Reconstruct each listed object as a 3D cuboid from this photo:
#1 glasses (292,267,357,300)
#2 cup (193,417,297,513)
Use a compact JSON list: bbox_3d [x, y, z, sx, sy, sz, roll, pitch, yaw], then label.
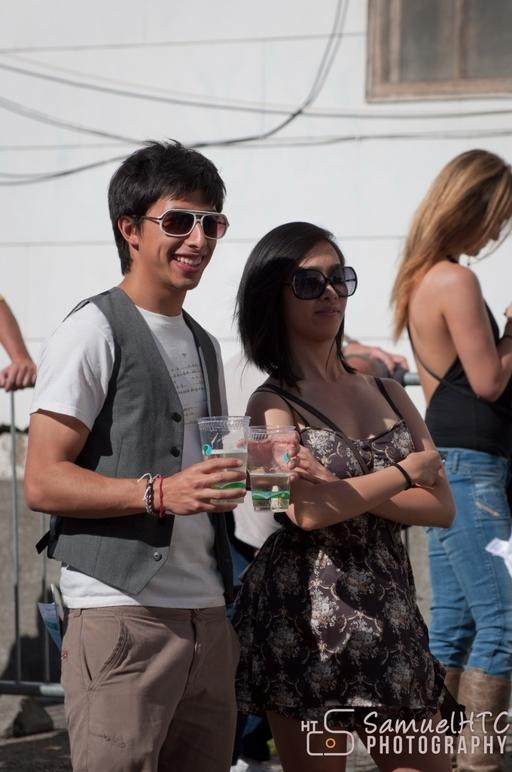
[{"bbox_3d":[0.193,-0.289,2.459,0.142,0.049,0.128,-2,-7,-17],"label":"glasses"},{"bbox_3d":[-0.030,0.178,1.992,0.149,0.181,0.258,-13,-16,43],"label":"cup"}]
